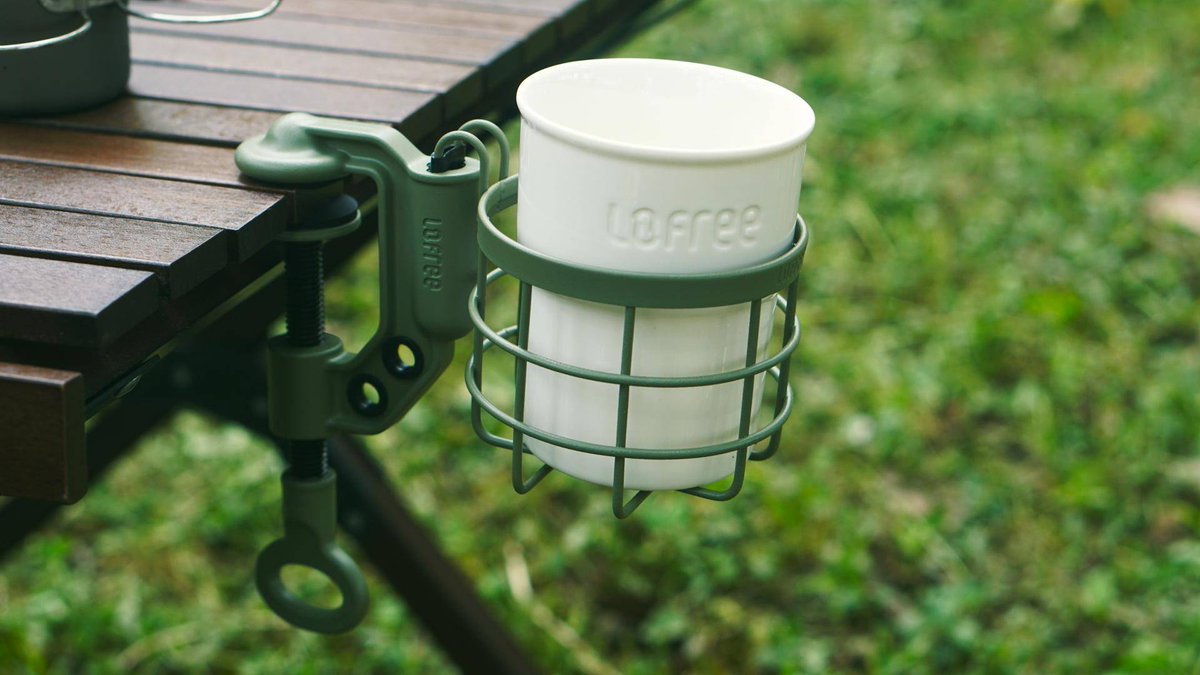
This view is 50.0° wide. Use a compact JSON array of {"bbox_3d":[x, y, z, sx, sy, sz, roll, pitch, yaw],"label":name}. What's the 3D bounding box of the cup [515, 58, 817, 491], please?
[{"bbox_3d":[0.086,-0.109,2.219,0.491,0.601,0.420,4,34,-5],"label":"cup"}]
